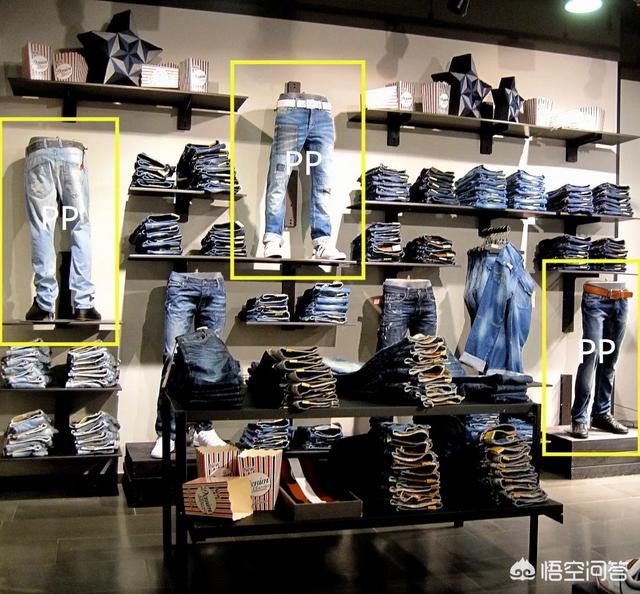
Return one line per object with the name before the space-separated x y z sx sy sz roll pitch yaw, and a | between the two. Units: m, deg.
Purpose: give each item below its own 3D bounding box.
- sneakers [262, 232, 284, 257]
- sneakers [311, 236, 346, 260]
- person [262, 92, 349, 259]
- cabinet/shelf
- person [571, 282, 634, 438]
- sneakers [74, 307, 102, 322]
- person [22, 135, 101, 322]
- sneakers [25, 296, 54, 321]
sneakers | -0.347 -0.375 4.635 0.140 0.186 0.189 1 0 -5
sneakers | 0.066 -0.352 4.698 0.113 0.139 0.299 0 1 -28
person | -0.116 -0.893 4.719 0.599 1.248 0.305 1 0 -6
cabinet/shelf | 0.245 0.941 3.068 1.828 0.952 0.832 2 -10 -15
person | 2.271 0.496 5.125 0.592 1.209 0.355 1 0 -27
sneakers | -1.584 0.122 4.264 0.196 0.091 0.081 0 2 -27
person | -1.757 -0.467 4.274 0.508 1.289 0.332 1 0 -20
sneakers | -1.881 0.094 4.206 0.248 0.187 0.094 1 -1 5
